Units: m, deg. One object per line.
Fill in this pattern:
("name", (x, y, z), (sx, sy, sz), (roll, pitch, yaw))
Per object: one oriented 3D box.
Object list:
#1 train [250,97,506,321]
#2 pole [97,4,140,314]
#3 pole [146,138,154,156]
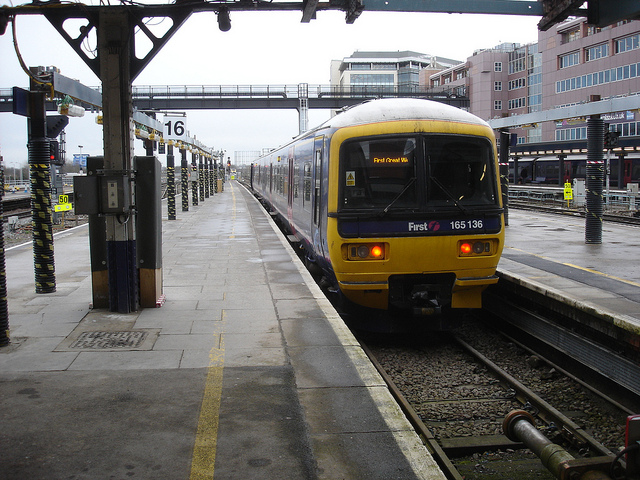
("train", (0.755, -0.660, 9.112), (2.550, 3.984, 4.617), (-6, 10, -34))
("pole", (-3.276, -1.294, 7.702), (0.552, 4.958, 0.802), (-3, 9, -21))
("pole", (-7.752, -4.185, 21.425), (0.263, 0.646, 0.511), (-3, 9, -19))
